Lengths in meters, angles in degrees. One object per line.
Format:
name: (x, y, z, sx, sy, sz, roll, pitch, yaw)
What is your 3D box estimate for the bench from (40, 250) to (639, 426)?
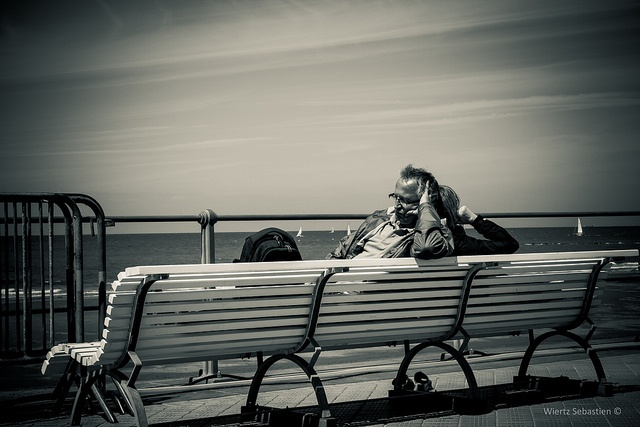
bench: (0.225, 0.855, 5.102, 3.858, 1.251, 0.807, -3, 7, -21)

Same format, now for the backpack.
backpack: (-0.401, 0.326, 5.345, 0.316, 0.376, 0.416, 5, -23, -34)

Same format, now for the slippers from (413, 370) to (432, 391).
slippers: (0.827, 1.357, 5.565, 0.125, 0.167, 0.179, -5, 5, -34)
